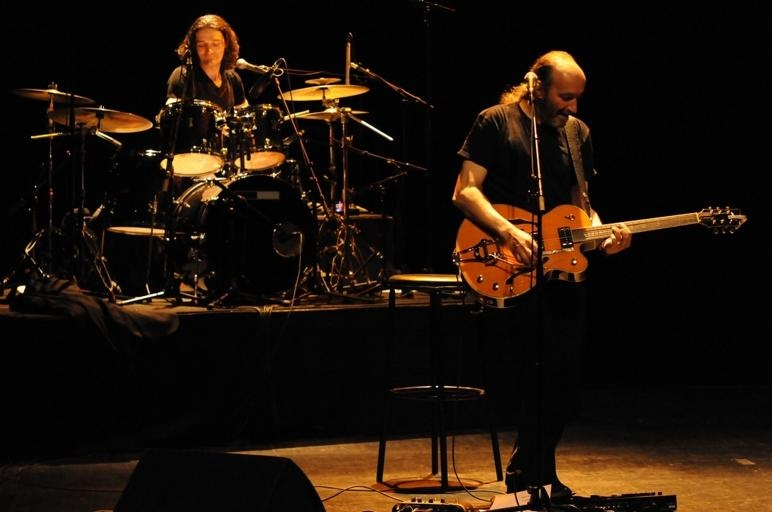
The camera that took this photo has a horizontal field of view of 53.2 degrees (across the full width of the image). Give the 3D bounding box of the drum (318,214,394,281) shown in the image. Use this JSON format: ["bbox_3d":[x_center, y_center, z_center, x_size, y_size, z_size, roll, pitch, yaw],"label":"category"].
[{"bbox_3d":[-0.323,-0.095,7.473,0.728,0.623,0.380,-2,3,-39],"label":"drum"}]

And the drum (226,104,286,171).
[{"bbox_3d":[-1.079,-0.961,6.601,0.576,0.482,0.570,-7,-4,32],"label":"drum"}]

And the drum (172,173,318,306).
[{"bbox_3d":[-1.236,-0.206,6.491,0.997,0.849,1.139,-2,5,-29],"label":"drum"}]

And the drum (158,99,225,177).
[{"bbox_3d":[-1.639,-0.993,6.557,0.550,0.658,0.416,-3,10,-15],"label":"drum"}]

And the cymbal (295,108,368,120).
[{"bbox_3d":[-0.603,-1.391,7.526,0.428,0.087,0.407,1,7,16],"label":"cymbal"}]

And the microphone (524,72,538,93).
[{"bbox_3d":[0.915,-1.088,4.825,0.081,0.141,0.288,1,9,10],"label":"microphone"}]

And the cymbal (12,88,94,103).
[{"bbox_3d":[-2.874,-1.393,6.684,0.416,0.087,0.407,4,4,28],"label":"cymbal"}]

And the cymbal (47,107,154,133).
[{"bbox_3d":[-2.548,-1.219,6.875,0.518,0.104,0.491,-2,2,-28],"label":"cymbal"}]

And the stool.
[{"bbox_3d":[0.383,0.930,5.775,0.923,1.417,0.937,-2,-6,20],"label":"stool"}]

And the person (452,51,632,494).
[{"bbox_3d":[0.981,0.081,5.085,0.840,2.817,0.894,7,13,38],"label":"person"}]

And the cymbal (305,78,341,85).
[{"bbox_3d":[-0.642,-1.735,7.702,0.323,0.094,0.489,-1,9,-6],"label":"cymbal"}]

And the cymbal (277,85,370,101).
[{"bbox_3d":[-0.634,-1.606,7.604,0.652,0.120,0.636,-1,5,27],"label":"cymbal"}]
